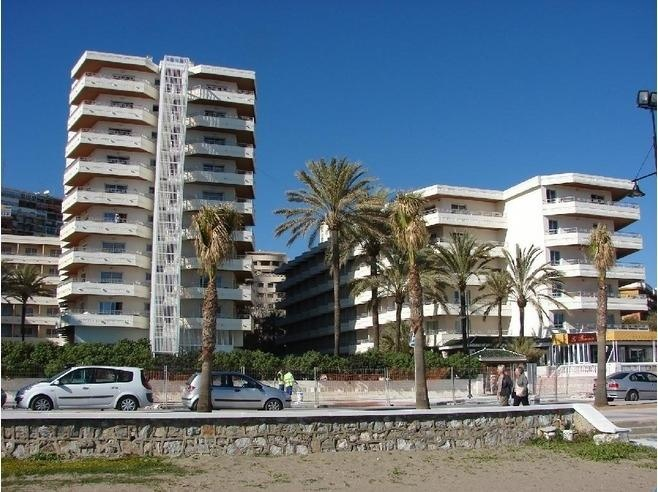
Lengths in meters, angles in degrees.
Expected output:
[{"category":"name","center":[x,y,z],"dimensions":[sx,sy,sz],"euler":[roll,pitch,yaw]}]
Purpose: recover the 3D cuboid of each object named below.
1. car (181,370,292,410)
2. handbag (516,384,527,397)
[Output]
[{"category":"car","center":[-4.634,7.168,39.183],"dimensions":[3.755,1.643,2.184],"euler":[0,-7,-13]},{"category":"handbag","center":[8.463,6.390,36.182],"dimensions":[0.484,0.492,0.430],"euler":[3,1,12]}]
